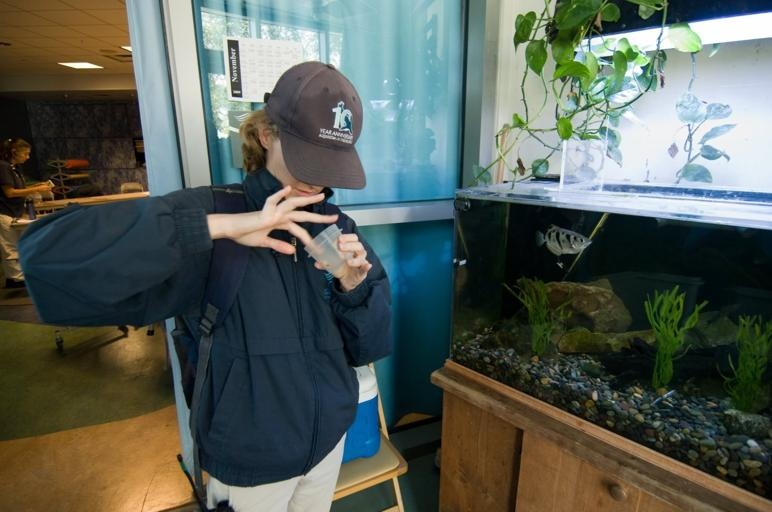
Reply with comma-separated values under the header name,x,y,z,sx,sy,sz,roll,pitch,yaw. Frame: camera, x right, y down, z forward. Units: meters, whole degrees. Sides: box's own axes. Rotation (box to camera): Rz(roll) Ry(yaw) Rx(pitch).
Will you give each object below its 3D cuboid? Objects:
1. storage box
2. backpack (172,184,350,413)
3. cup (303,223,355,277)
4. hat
name,x,y,z,sx,sy,sz,roll,pitch,yaw
storage box,-0.137,0.802,2.679,0.241,0.343,0.242,8,-9,-41
backpack,-0.566,0.138,2.199,0.608,0.842,0.246,-11,16,-36
cup,-0.225,-0.015,2.155,0.173,0.175,0.173,-33,2,2
hat,-0.278,-0.502,2.072,0.378,0.488,0.186,-4,14,-12
